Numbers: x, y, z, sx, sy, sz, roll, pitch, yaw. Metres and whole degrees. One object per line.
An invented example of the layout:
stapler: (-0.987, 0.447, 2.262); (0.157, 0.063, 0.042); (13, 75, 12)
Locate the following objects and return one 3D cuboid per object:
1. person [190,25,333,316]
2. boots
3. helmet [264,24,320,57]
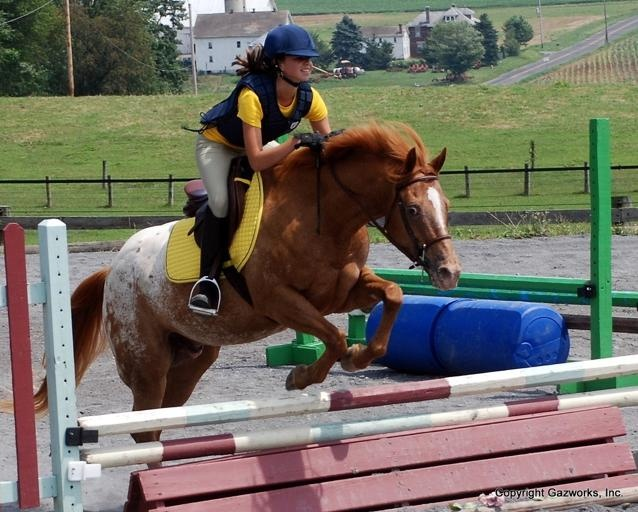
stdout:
person: (-0.453, -0.536, 7.485); (0.845, 1.875, 0.812); (-6, 21, -28)
boots: (-0.681, 0.013, 7.213); (0.236, 0.597, 0.273); (-13, 20, -40)
helmet: (-0.178, -1.340, 7.165); (0.339, 0.218, 0.357); (-2, 8, -2)
